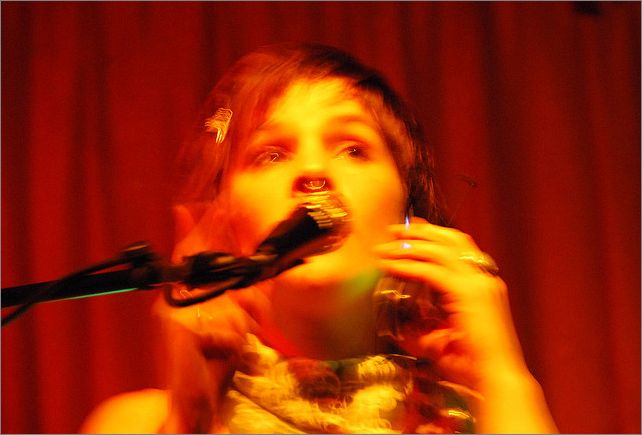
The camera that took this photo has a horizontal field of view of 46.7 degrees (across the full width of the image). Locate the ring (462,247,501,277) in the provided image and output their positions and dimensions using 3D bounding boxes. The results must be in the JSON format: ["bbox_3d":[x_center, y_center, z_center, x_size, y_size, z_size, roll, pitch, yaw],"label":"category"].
[{"bbox_3d":[0.481,0.133,2.217,0.108,0.063,0.026,7,-35,-34],"label":"ring"}]
